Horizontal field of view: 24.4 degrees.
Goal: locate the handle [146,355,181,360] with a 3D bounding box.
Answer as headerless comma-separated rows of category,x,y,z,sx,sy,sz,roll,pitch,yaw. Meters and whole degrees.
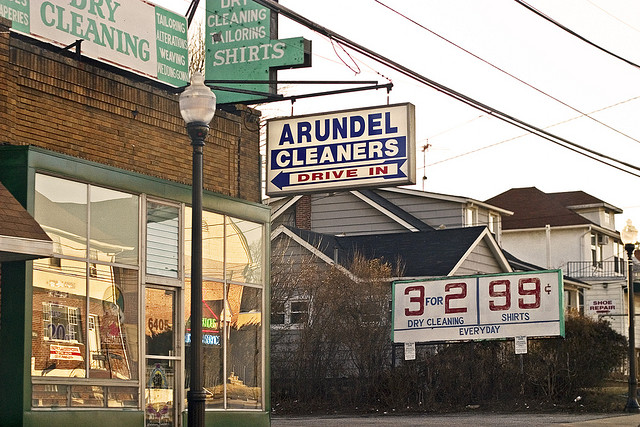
handle,-3.862,3.555,36.764,0.932,0.134,0.064,1,2,-44
